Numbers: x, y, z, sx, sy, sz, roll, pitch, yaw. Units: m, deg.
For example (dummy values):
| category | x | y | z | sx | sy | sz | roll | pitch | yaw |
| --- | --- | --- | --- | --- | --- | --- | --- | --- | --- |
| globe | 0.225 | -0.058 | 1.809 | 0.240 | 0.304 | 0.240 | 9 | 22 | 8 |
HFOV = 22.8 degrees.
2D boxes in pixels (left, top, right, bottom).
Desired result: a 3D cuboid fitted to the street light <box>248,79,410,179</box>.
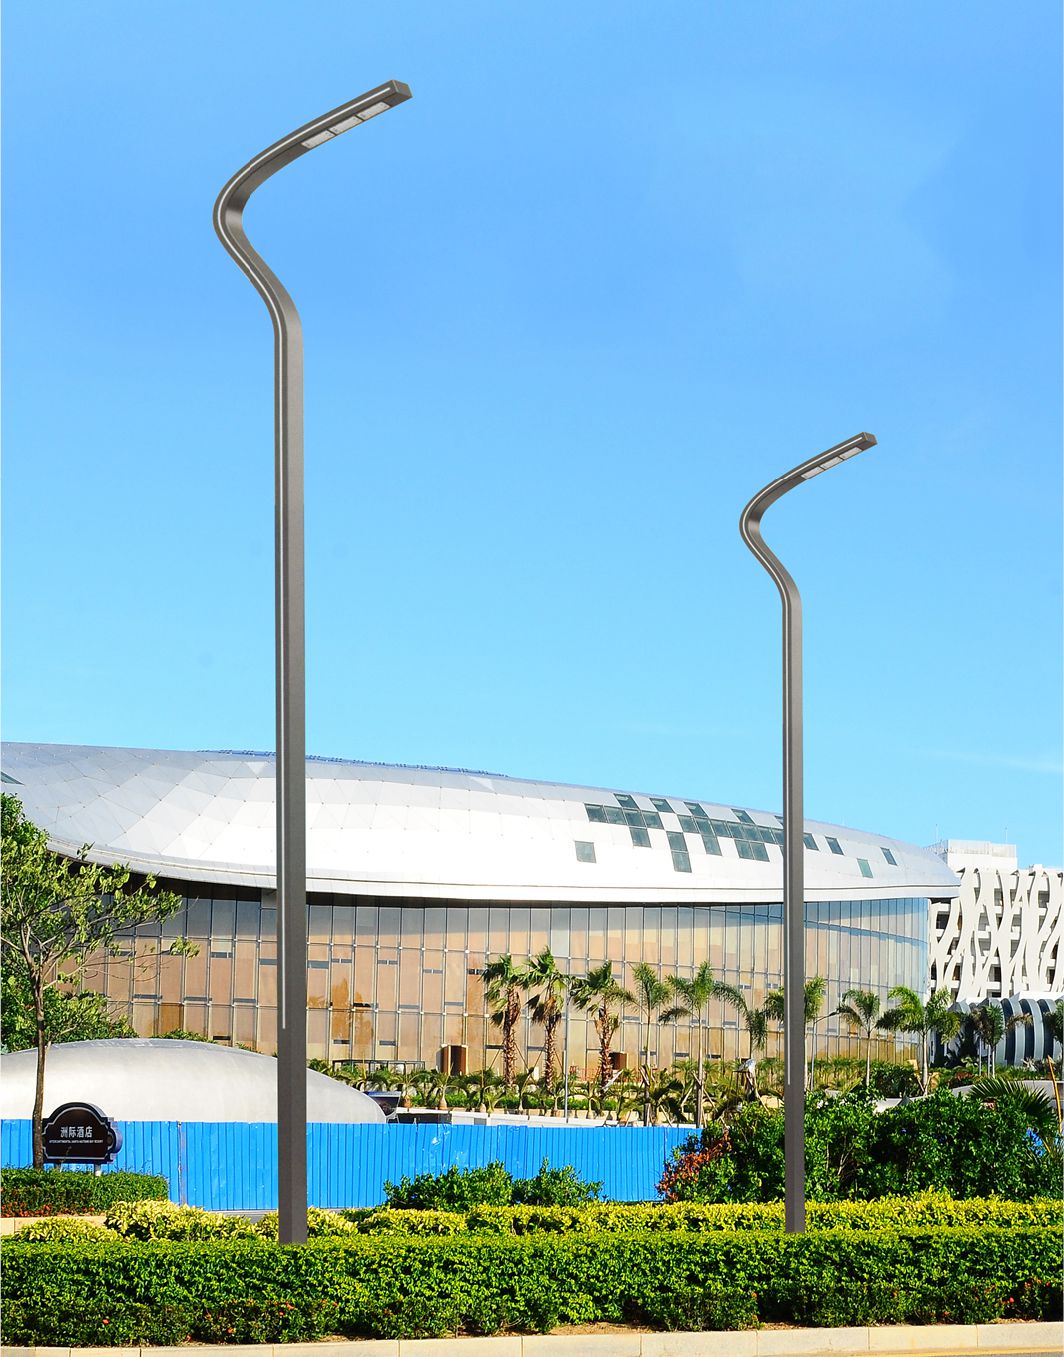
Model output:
| category | x | y | z | sx | sy | sz | roll | pitch | yaw |
| --- | --- | --- | --- | --- | --- | --- | --- | --- | --- |
| street light | -1.932 | -5.070 | 24.581 | 2.049 | 0.334 | 0.339 | -12 | -17 | 44 |
